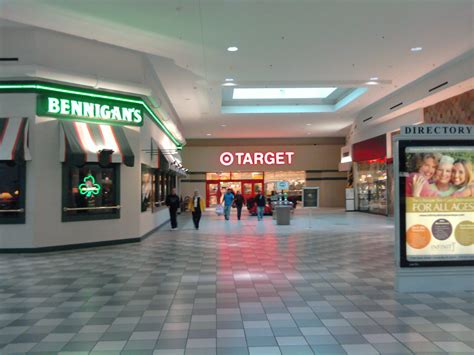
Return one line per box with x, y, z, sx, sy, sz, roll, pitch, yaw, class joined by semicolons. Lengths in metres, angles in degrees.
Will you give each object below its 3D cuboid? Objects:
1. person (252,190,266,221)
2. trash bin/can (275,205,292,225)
1.256;1.529;19.138;0.521;1.328;1.168;0;0;2;person
2.266;1.844;16.983;0.813;0.954;1.003;0;-1;4;trash bin/can
